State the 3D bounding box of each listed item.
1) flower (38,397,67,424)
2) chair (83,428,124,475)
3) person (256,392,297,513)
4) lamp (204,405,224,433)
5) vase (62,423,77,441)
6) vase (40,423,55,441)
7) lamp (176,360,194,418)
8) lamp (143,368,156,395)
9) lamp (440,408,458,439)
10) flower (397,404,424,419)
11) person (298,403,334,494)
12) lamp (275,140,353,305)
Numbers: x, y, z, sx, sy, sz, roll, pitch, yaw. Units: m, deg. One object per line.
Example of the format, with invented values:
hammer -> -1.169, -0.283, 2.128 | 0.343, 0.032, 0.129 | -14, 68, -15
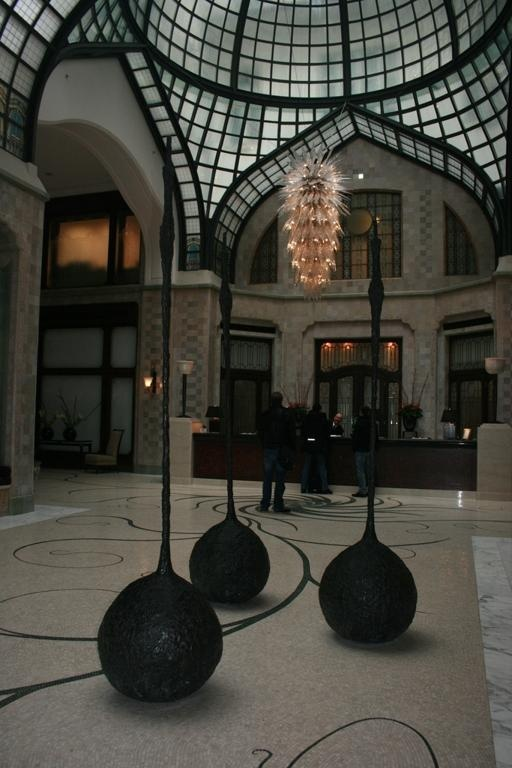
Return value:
flower -> -5.063, 0.659, 16.081 | 0.629, 0.705, 0.158 | -4, -11, 21
chair -> -3.566, 1.558, 14.820 | 0.948, 1.496, 0.818 | 5, -5, -37
person -> 0.263, 0.916, 8.549 | 0.457, 1.591, 1.386 | 1, -3, 0
lamp -> -0.860, 0.722, 13.224 | 0.443, 0.817, 0.491 | 0, -9, 0
vase -> -4.482, 1.161, 15.532 | 0.320, 0.450, 0.350 | 1, 0, 17
vase -> -5.092, 1.195, 15.681 | 0.295, 0.403, 0.329 | -1, -19, 8
lamp -> -1.575, 0.118, 14.367 | 0.330, 1.212, 1.520 | 1, -3, -6
lamp -> -2.470, -0.059, 14.930 | 0.320, 0.607, 0.246 | 0, -3, 8
lamp -> 3.482, 0.740, 11.683 | 0.231, 0.522, 0.799 | 0, -3, 15
flower -> 3.488, 0.605, 14.657 | 0.446, 0.272, 0.700 | 0, -3, 26
person -> 1.021, 1.012, 10.885 | 0.452, 1.686, 0.499 | 8, 27, 20
lamp -> 0.832, -2.370, 9.317 | 0.908, 2.183, 0.989 | 0, -3, 10
